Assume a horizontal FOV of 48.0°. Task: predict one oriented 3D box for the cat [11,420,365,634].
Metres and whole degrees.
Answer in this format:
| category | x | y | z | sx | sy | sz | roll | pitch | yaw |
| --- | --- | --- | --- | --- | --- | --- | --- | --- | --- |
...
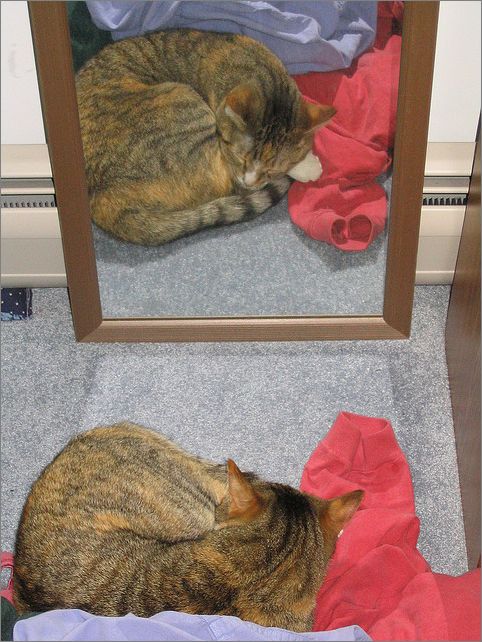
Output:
| category | x | y | z | sx | sy | sz | roll | pitch | yaw |
| --- | --- | --- | --- | --- | --- | --- | --- | --- | --- |
| cat | -0.117 | 0.351 | 0.868 | 0.406 | 0.164 | 0.338 | -5 | 46 | 2 |
